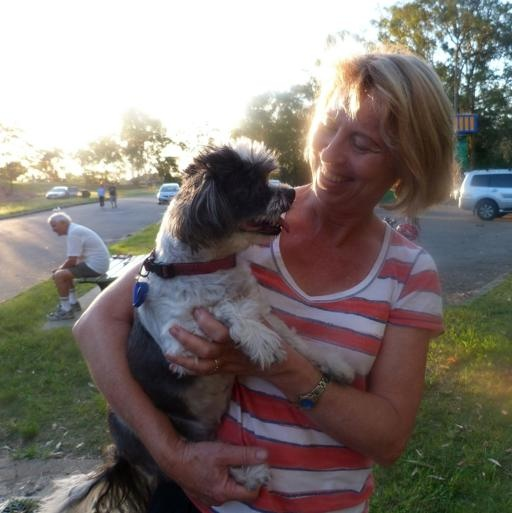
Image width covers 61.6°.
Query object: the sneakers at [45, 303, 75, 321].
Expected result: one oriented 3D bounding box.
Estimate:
[{"bbox_3d":[-3.098,0.901,6.906,0.421,0.272,0.193,1,2,-12],"label":"sneakers"}]
